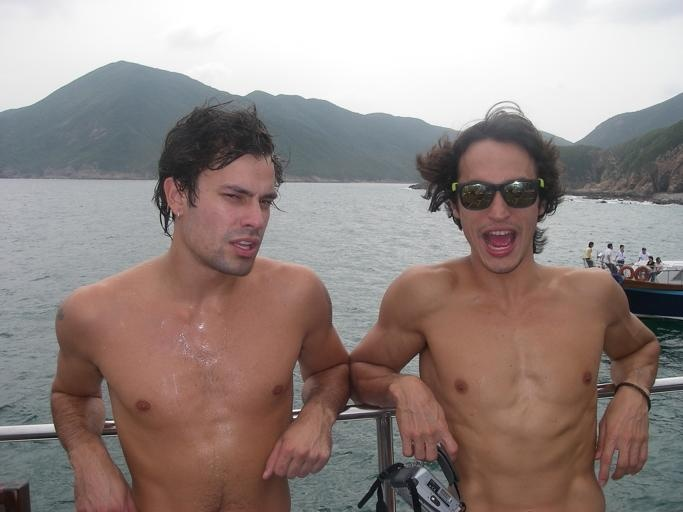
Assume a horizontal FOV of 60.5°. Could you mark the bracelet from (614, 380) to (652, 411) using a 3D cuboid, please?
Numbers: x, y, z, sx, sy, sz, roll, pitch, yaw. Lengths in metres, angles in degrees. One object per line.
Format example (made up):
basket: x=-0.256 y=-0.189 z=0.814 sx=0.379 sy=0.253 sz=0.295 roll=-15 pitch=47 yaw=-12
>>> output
bracelet: x=1.977 y=0.959 z=3.990 sx=0.237 sy=0.201 sz=0.220 roll=7 pitch=10 yaw=26

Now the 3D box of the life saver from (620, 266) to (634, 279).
life saver: x=11.733 y=0.667 z=24.029 sx=0.559 sy=0.545 sz=0.166 roll=26 pitch=28 yaw=33

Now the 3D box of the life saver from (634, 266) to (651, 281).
life saver: x=12.165 y=0.745 z=23.797 sx=0.533 sy=0.682 sz=0.245 roll=-7 pitch=6 yaw=10
